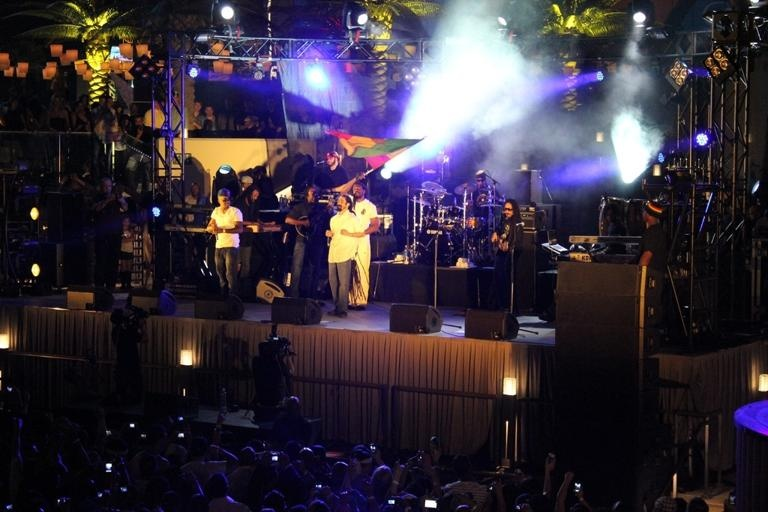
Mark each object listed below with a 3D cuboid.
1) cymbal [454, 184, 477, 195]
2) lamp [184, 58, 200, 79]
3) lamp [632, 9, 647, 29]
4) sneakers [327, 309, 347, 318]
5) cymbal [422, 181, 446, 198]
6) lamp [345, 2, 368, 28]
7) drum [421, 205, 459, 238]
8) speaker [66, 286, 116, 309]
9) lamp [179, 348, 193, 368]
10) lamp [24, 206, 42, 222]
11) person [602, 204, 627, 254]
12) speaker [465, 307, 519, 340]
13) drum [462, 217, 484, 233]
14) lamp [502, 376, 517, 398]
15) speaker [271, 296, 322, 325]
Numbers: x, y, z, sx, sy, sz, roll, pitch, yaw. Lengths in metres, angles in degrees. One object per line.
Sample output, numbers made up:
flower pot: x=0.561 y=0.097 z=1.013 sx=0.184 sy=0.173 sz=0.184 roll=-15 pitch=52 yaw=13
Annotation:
cymbal: x=1.918 y=-1.558 z=21.080 sx=0.472 sy=0.258 sz=0.462 roll=1 pitch=1 yaw=4
lamp: x=-4.739 y=-4.739 z=22.664 sx=0.381 sy=0.532 sz=0.171 roll=-8 pitch=-3 yaw=15
lamp: x=6.395 y=-5.892 z=22.542 sx=0.349 sy=0.405 sz=0.227 roll=1 pitch=0 yaw=20
sneakers: x=-0.905 y=1.147 z=18.056 sx=0.420 sy=0.186 sz=0.145 roll=-2 pitch=-4 yaw=19
cymbal: x=1.197 y=-1.564 z=21.417 sx=0.572 sy=0.315 sz=0.301 roll=1 pitch=1 yaw=1
lamp: x=-0.613 y=-5.805 z=21.922 sx=0.620 sy=0.649 sz=0.488 roll=1 pitch=10 yaw=15
drum: x=1.302 y=-0.764 z=20.401 sx=0.658 sy=0.551 sz=0.367 roll=-9 pitch=-2 yaw=41
speaker: x=-5.938 y=0.863 z=18.613 sx=0.828 sy=0.579 sz=0.482 roll=4 pitch=9 yaw=20
lamp: x=-3.848 y=1.991 z=17.704 sx=0.285 sy=0.327 sz=0.297 roll=-2 pitch=5 yaw=-18
lamp: x=-8.272 y=-1.003 z=21.496 sx=0.294 sy=0.595 sz=0.288 roll=-5 pitch=11 yaw=-37
person: x=5.412 y=-0.542 z=21.214 sx=0.737 sy=1.314 sz=0.312 roll=-1 pitch=5 yaw=13
speaker: x=1.926 y=1.229 z=16.110 sx=0.922 sy=0.491 sz=0.296 roll=1 pitch=0 yaw=3
drum: x=1.985 y=-0.675 z=19.914 sx=0.326 sy=0.243 sz=0.332 roll=0 pitch=-1 yaw=0
lamp: x=2.224 y=2.271 z=15.740 sx=0.289 sy=0.438 sz=0.295 roll=0 pitch=0 yaw=13
speaker: x=-1.583 y=0.886 z=17.265 sx=0.739 sy=0.472 sz=0.534 roll=1 pitch=4 yaw=27
